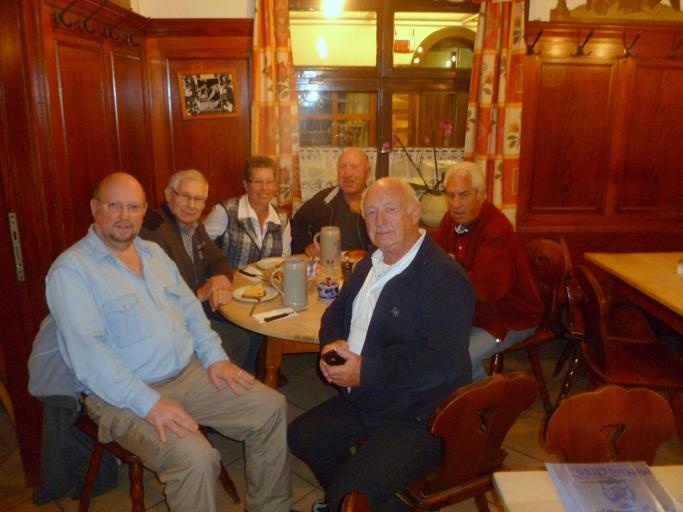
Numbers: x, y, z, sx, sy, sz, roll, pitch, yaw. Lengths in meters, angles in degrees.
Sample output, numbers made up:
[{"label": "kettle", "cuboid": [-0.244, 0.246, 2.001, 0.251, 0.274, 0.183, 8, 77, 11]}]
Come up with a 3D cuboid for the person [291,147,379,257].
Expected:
[{"label": "person", "cuboid": [0.030, -0.329, 4.027, 0.804, 0.872, 0.508, 2, 17, 3]}]

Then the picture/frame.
[{"label": "picture/frame", "cuboid": [-1.073, -1.303, 4.313, 0.350, 0.315, 0.030, -5, 15, -7]}]

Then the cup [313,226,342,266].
[{"label": "cup", "cuboid": [-0.100, -0.058, 3.383, 0.204, 0.226, 0.137, 7, 17, 21]}]
